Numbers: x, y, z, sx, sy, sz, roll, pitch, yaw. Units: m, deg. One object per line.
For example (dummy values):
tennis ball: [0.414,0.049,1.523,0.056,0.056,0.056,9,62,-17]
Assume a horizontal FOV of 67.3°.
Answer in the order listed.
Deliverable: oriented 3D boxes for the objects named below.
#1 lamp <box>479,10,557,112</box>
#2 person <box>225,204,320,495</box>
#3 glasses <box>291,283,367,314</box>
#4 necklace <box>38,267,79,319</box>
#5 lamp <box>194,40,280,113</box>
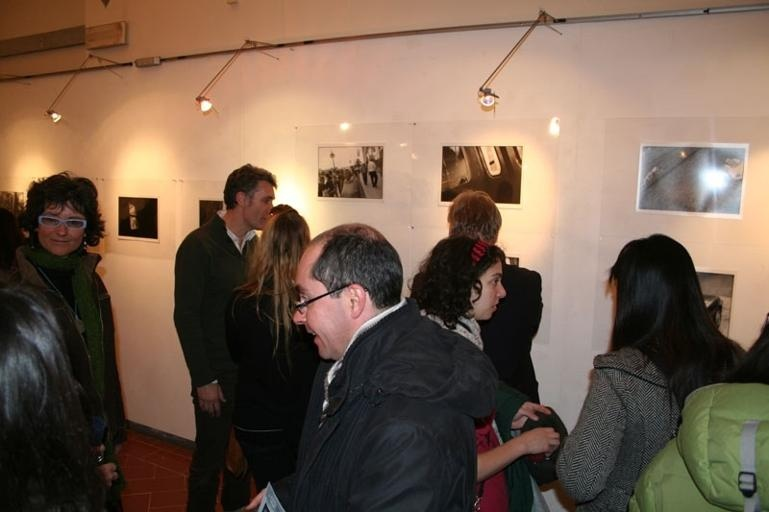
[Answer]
lamp: [0.930,-1.328,4.041,0.532,0.753,0.337,11,13,10]
person: [-0.685,0.961,3.955,0.768,2.507,0.688,1,19,-9]
glasses: [-0.279,0.184,2.588,0.186,0.053,0.183,-18,3,8]
necklace: [-2.036,0.219,3.633,0.314,0.321,0.103,-9,-5,-43]
lamp: [-1.239,-1.499,4.862,0.808,0.568,0.125,4,5,28]
